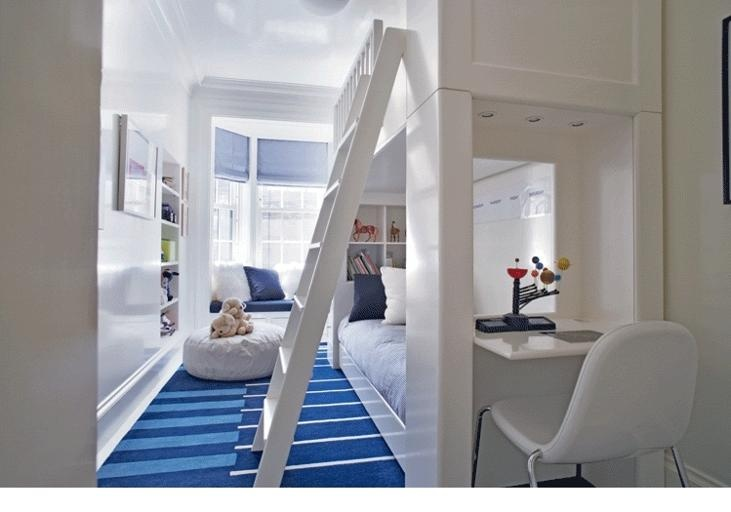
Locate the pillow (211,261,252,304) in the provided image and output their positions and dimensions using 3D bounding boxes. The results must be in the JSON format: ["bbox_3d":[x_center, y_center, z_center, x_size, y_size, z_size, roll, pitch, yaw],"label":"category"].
[{"bbox_3d":[-1.445,0.283,5.298,0.182,0.429,0.417,-21,-15,40],"label":"pillow"}]

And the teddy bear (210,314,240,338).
[{"bbox_3d":[-1.117,0.562,3.970,0.159,0.149,0.198,9,-9,-23],"label":"teddy bear"}]

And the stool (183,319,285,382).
[{"bbox_3d":[-1.056,0.787,3.921,0.508,0.227,0.516,1,0,-21],"label":"stool"}]

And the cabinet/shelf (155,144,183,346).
[{"bbox_3d":[-1.694,-0.084,4.368,0.216,1.575,0.842,0,-1,-20],"label":"cabinet/shelf"}]

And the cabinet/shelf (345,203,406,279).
[{"bbox_3d":[0.075,-0.119,4.289,0.635,0.634,0.202,2,-3,-20],"label":"cabinet/shelf"}]

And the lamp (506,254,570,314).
[{"bbox_3d":[0.831,0.140,2.379,0.363,0.276,0.133,0,-1,-27],"label":"lamp"}]
